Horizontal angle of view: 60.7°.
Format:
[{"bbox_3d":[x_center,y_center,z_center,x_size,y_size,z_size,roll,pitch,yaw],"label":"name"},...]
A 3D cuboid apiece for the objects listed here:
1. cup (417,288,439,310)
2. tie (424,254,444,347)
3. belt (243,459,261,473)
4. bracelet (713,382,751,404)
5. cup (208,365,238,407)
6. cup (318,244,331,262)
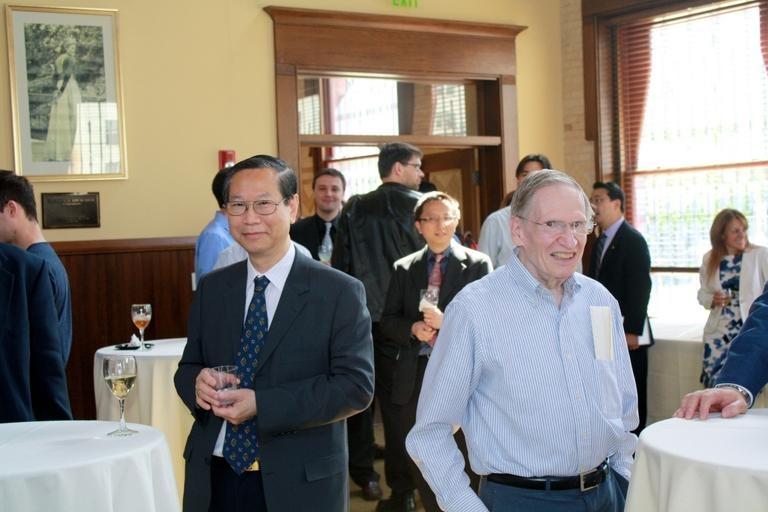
[{"bbox_3d":[0.258,0.249,3.763,0.105,0.189,0.121,2,-3,22],"label":"cup"},{"bbox_3d":[0.296,0.261,3.926,0.147,0.521,0.080,3,-8,10],"label":"tie"},{"bbox_3d":[-0.550,0.887,2.783,0.049,0.039,0.051,-9,-10,38],"label":"belt"},{"bbox_3d":[1.501,0.589,2.823,0.104,0.043,0.098,35,-5,37],"label":"bracelet"},{"bbox_3d":[-0.658,0.544,2.757,0.126,0.163,0.097,2,-11,-43],"label":"cup"},{"bbox_3d":[-0.448,-0.012,4.979,0.103,0.126,0.106,0,3,0],"label":"cup"}]
